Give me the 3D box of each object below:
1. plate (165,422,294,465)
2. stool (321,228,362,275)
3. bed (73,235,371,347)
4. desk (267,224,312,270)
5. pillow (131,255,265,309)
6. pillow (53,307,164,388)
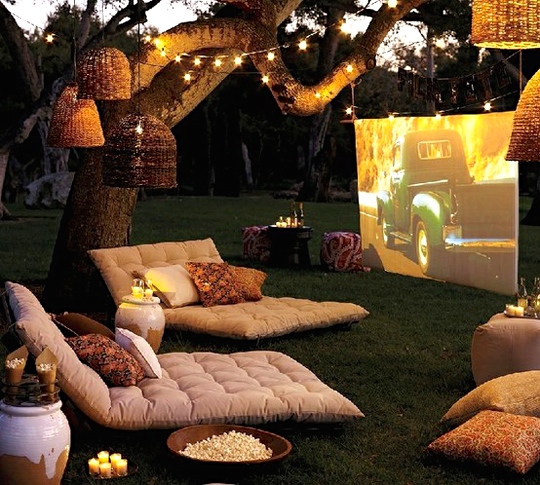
[{"bbox_3d":[-0.227,1.196,3.150,0.332,0.068,0.332,10,-4,-37],"label":"plate"},{"bbox_3d":[1.382,0.173,10.402,0.663,0.768,0.741,0,3,10],"label":"stool"},{"bbox_3d":[-0.506,0.520,6.661,2.983,0.965,3.167,1,1,13],"label":"bed"},{"bbox_3d":[0.438,0.029,10.914,0.910,0.817,0.956,0,6,16],"label":"desk"},{"bbox_3d":[-0.781,0.489,6.243,0.728,0.535,1.267,15,14,39],"label":"pillow"},{"bbox_3d":[-1.156,0.733,3.845,0.588,0.477,0.767,0,11,-19],"label":"pillow"}]
